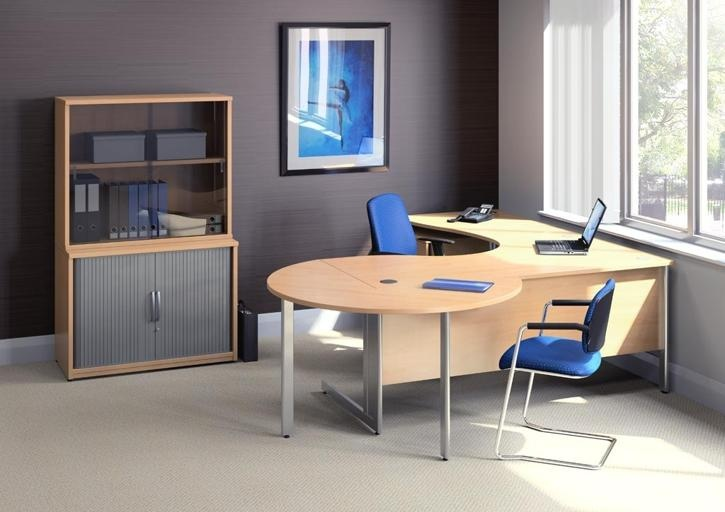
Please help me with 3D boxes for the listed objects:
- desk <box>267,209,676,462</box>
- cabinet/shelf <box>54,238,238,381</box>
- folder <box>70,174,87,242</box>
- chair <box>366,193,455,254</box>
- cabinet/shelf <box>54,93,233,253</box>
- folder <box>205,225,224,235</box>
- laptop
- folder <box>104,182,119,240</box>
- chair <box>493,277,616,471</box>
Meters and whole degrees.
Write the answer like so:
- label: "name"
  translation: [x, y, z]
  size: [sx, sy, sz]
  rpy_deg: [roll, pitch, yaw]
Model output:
- label: "desk"
  translation: [1.048, 0.471, 4.718]
  size: [2.228, 0.975, 3.439]
  rpy_deg: [5, 12, 27]
- label: "cabinet/shelf"
  translation: [-1.589, 0.460, 5.101]
  size: [1.470, 0.957, 0.536]
  rpy_deg: [-5, -11, 13]
- label: "folder"
  translation: [-2.166, -0.353, 4.704]
  size: [0.144, 0.514, 0.056]
  rpy_deg: [-6, 15, -22]
- label: "chair"
  translation: [0.347, -0.301, 5.387]
  size: [0.601, 0.813, 0.617]
  rpy_deg: [-7, 7, -42]
- label: "cabinet/shelf"
  translation: [-1.768, -0.655, 4.825]
  size: [1.354, 1.126, 0.424]
  rpy_deg: [-3, 7, -26]
- label: "folder"
  translation: [-1.218, -0.207, 5.071]
  size: [0.155, 0.092, 0.079]
  rpy_deg: [0, 4, -12]
- label: "laptop"
  translation: [1.582, -0.198, 4.663]
  size: [0.521, 0.323, 0.486]
  rpy_deg: [1, 12, 3]
- label: "folder"
  translation: [-1.941, -0.336, 4.790]
  size: [0.117, 0.430, 0.052]
  rpy_deg: [-6, 15, -21]
- label: "chair"
  translation: [1.221, 0.616, 3.813]
  size: [0.734, 1.068, 0.809]
  rpy_deg: [3, 14, 13]
